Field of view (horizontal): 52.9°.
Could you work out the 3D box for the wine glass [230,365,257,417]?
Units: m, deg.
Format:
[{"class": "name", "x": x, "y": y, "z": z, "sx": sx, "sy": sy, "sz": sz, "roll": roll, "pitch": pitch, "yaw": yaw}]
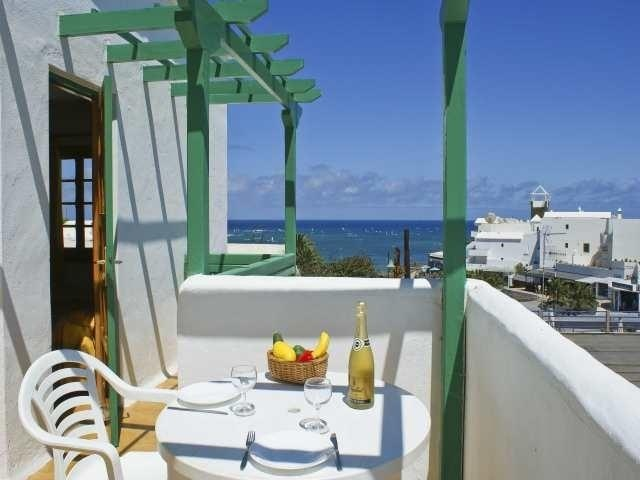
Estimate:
[{"class": "wine glass", "x": -0.374, "y": 0.742, "z": 3.232, "sx": 0.106, "sy": 0.210, "sz": 0.120, "roll": 9, "pitch": 4, "yaw": 18}]
